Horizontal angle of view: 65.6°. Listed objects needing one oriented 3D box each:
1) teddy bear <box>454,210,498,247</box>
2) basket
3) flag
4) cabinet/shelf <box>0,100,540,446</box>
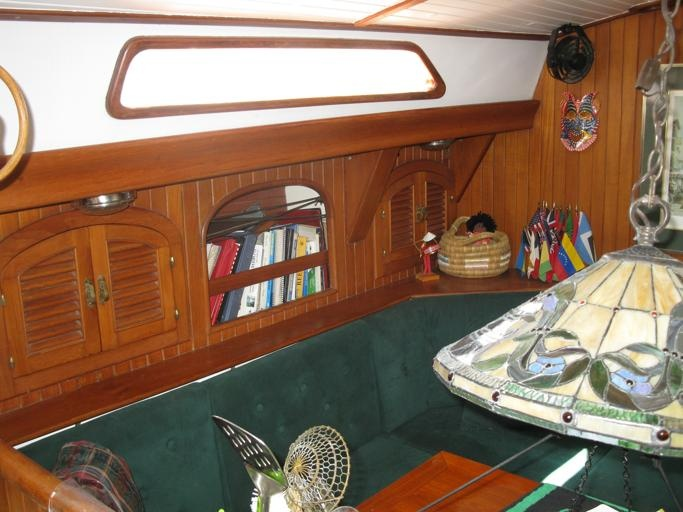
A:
[{"bbox_3d":[1.055,-0.206,4.096,0.261,0.232,0.083,10,9,19],"label":"teddy bear"},{"bbox_3d":[0.999,-0.066,4.085,0.565,0.380,0.540,-3,8,-3],"label":"basket"},{"bbox_3d":[1.475,-0.105,3.643,0.656,0.597,0.155,-1,-5,30],"label":"flag"},{"bbox_3d":[-0.411,0.119,2.690,2.915,0.825,0.220,-18,53,-30],"label":"cabinet/shelf"}]
